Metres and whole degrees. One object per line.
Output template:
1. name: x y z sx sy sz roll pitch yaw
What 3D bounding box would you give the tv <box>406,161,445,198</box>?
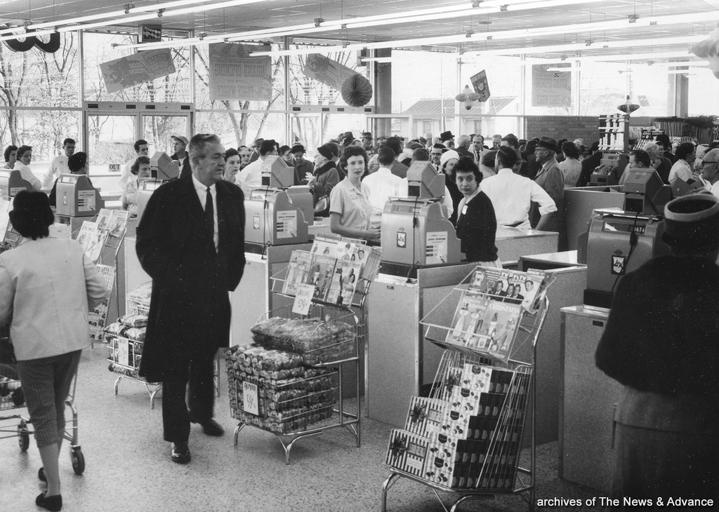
1. tv: 0.536 -0.600 5.395 0.211 0.375 0.357 4 8 45

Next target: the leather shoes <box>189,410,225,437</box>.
1. leather shoes: -1.204 1.324 5.342 0.317 0.136 0.135 16 16 21

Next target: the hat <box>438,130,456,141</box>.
1. hat: 2.044 -2.822 15.864 0.389 0.156 0.444 -13 5 1

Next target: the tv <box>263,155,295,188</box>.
1. tv: -0.791 -0.802 6.486 0.328 0.357 0.224 -5 8 -27

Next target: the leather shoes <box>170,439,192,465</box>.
1. leather shoes: -1.299 1.425 4.844 0.088 0.093 0.207 2 -6 -20
